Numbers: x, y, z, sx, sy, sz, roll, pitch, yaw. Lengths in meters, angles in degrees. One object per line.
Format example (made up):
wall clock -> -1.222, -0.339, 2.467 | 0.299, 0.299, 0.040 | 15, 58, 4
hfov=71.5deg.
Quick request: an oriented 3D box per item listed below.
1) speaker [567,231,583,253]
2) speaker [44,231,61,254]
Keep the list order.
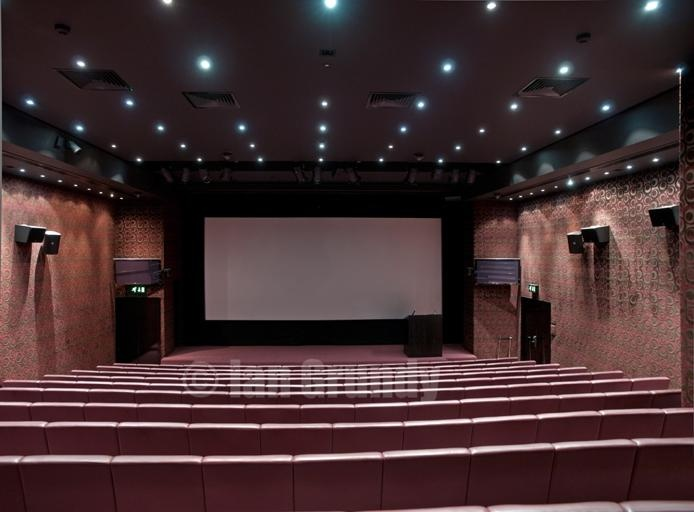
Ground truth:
speaker -> 4.819, -0.292, 10.205 | 0.397, 0.427, 0.226 | -2, -2, 16
speaker -> -5.953, -0.259, 9.754 | 0.262, 0.505, 0.438 | 0, 3, 8
